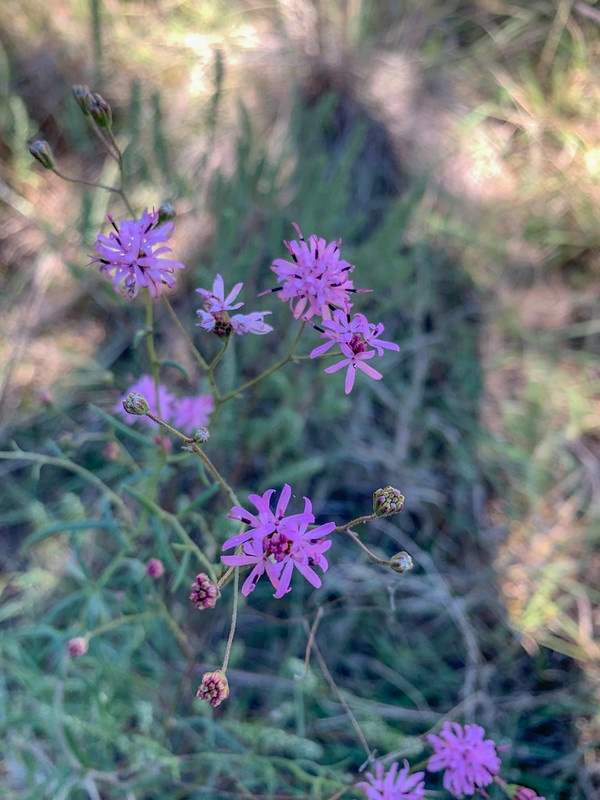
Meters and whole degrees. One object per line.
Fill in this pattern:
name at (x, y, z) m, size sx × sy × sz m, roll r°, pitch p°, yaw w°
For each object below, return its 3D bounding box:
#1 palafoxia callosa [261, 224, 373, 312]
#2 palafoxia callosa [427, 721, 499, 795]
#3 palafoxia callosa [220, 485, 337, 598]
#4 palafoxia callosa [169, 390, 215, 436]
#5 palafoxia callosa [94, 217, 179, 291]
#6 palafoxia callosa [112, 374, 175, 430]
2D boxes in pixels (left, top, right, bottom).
palafoxia callosa at (0.054, -0.376, 2.228) m, size 0.268 × 0.245 × 0.126 m, roll 1°, pitch 100°, yaw 25°
palafoxia callosa at (0.528, 1.135, 2.410) m, size 0.297 × 0.065 × 0.250 m, roll -3°, pitch 66°, yaw 4°
palafoxia callosa at (-0.060, 0.385, 2.046) m, size 0.282 × 0.202 × 0.273 m, roll 9°, pitch 83°, yaw 0°
palafoxia callosa at (-0.416, 0.055, 2.924) m, size 0.157 × 0.075 × 0.153 m, roll 2°, pitch 83°, yaw -1°
palafoxia callosa at (-0.478, -0.439, 2.146) m, size 0.247 × 0.227 × 0.080 m, roll -24°, pitch 87°, yaw 33°
palafoxia callosa at (-0.562, 0.005, 2.828) m, size 0.224 × 0.080 × 0.212 m, roll -36°, pitch 92°, yaw -8°
